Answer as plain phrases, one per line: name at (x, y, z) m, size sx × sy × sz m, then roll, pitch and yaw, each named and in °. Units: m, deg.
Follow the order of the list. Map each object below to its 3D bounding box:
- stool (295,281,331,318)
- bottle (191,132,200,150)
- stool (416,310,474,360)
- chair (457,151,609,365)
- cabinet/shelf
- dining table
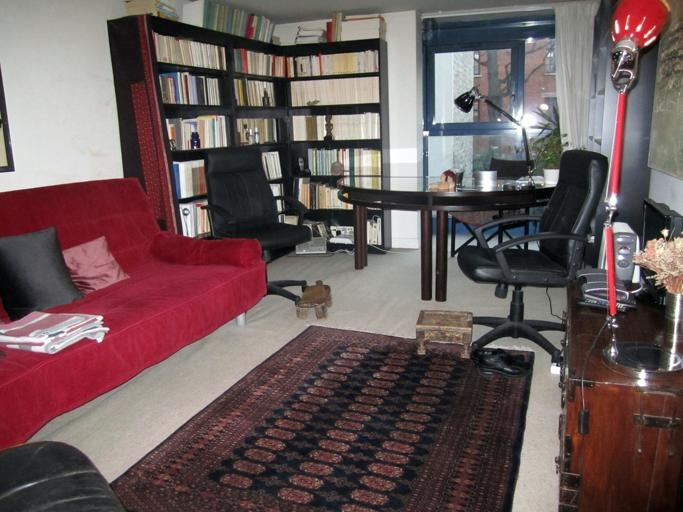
stool at (-0.200, 0.329, 3.878) m, size 0.245 × 0.117 × 0.408 m, roll 0°, pitch 28°, yaw 14°
bottle at (-1.324, -1.045, 4.384) m, size 0.062 × 0.155 × 0.113 m, roll -3°, pitch 15°, yaw 5°
stool at (0.652, 0.488, 3.096) m, size 0.327 × 0.177 × 0.312 m, roll 3°, pitch 18°, yaw 18°
chair at (1.216, -0.018, 3.248) m, size 0.915 × 1.200 × 0.762 m, roll -5°, pitch 15°, yaw -1°
cabinet/shelf at (-0.851, -1.217, 4.609) m, size 1.313 × 2.069 × 2.451 m, roll 4°, pitch 14°, yaw 25°
dining table at (1.058, -0.049, 4.206) m, size 1.052 × 0.837 × 1.852 m, roll 7°, pitch -5°, yaw -43°
